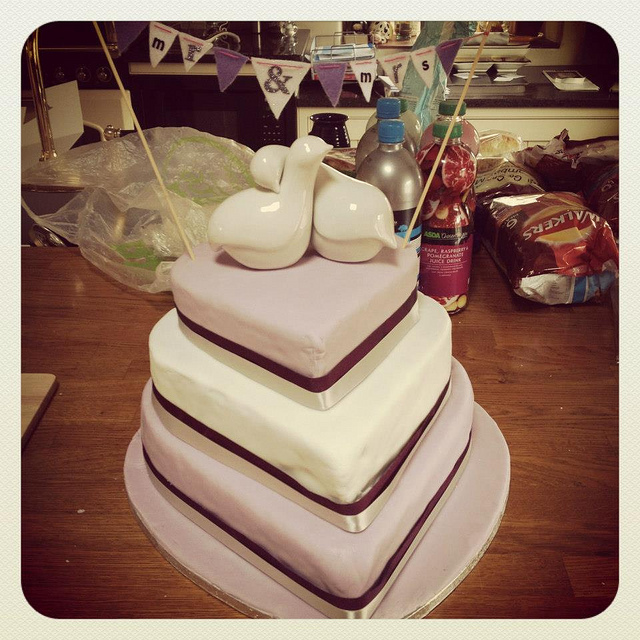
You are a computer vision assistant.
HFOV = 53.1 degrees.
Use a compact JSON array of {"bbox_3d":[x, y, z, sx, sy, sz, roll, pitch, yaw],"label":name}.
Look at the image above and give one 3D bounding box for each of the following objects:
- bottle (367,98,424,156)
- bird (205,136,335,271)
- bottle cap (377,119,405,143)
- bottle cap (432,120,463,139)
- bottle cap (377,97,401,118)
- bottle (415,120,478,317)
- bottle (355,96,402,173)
[{"bbox_3d":[0.148,-0.361,1.269,0.096,0.133,0.088,0,33,0],"label":"bottle"},{"bbox_3d":[-0.061,-0.130,0.697,0.155,0.133,0.101,1,33,1],"label":"bird"},{"bbox_3d":[0.103,-0.272,0.927,0.032,0.031,0.032,11,36,19],"label":"bottle cap"},{"bbox_3d":[0.205,-0.312,1.047,0.056,0.019,0.048,-1,26,1],"label":"bottle cap"},{"bbox_3d":[0.111,-0.342,1.013,0.044,0.024,0.038,-2,38,1],"label":"bottle cap"},{"bbox_3d":[0.235,-0.176,1.125,0.124,0.321,0.117,-5,29,3],"label":"bottle"},{"bbox_3d":[0.118,-0.347,1.192,0.069,0.095,0.069,11,-12,2],"label":"bottle"}]
